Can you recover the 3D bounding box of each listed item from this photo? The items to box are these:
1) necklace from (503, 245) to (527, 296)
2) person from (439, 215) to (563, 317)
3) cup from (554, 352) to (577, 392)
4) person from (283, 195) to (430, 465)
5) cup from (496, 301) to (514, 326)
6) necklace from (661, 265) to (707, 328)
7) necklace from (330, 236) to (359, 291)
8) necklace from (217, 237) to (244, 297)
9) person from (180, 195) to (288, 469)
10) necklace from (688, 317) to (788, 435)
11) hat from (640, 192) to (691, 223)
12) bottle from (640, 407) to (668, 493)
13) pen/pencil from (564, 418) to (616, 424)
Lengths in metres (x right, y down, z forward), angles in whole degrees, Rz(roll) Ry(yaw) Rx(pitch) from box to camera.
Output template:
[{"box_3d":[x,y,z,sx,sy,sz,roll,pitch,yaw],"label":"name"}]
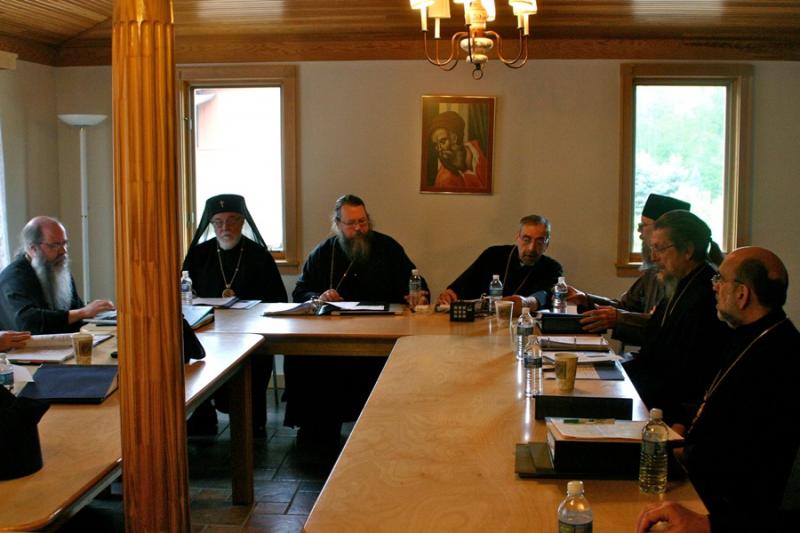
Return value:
[{"box_3d":[0.928,0.047,6.087,0.194,0.342,0.063,13,2,39],"label":"necklace"},{"box_3d":[0.841,-0.048,5.835,0.748,0.591,0.950,8,8,17],"label":"person"},{"box_3d":[0.798,0.506,3.470,0.131,0.160,0.125,2,2,0],"label":"cup"},{"box_3d":[-0.397,0.421,6.003,1.365,1.872,1.034,-6,6,-22],"label":"person"},{"box_3d":[0.655,0.308,4.740,0.160,0.171,0.130,0,-2,4],"label":"cup"},{"box_3d":[1.642,0.177,4.278,0.248,0.256,0.384,11,30,23],"label":"necklace"},{"box_3d":[-0.490,-0.016,6.015,0.133,0.441,0.079,8,-10,-7],"label":"necklace"},{"box_3d":[-1.328,0.048,5.731,0.166,0.519,0.019,1,39,-13],"label":"necklace"},{"box_3d":[-1.449,0.381,6.070,1.089,1.906,1.001,-1,-6,-15],"label":"person"},{"box_3d":[1.468,0.475,3.297,0.136,0.502,0.512,35,31,0],"label":"necklace"},{"box_3d":[2.011,-0.457,5.603,0.301,0.181,0.289,6,5,3],"label":"hat"},{"box_3d":[0.952,0.691,2.760,0.105,0.299,0.136,4,15,17],"label":"bottle"},{"box_3d":[0.759,0.624,2.972,0.240,0.024,0.018,0,7,-3],"label":"pen/pencil"}]
